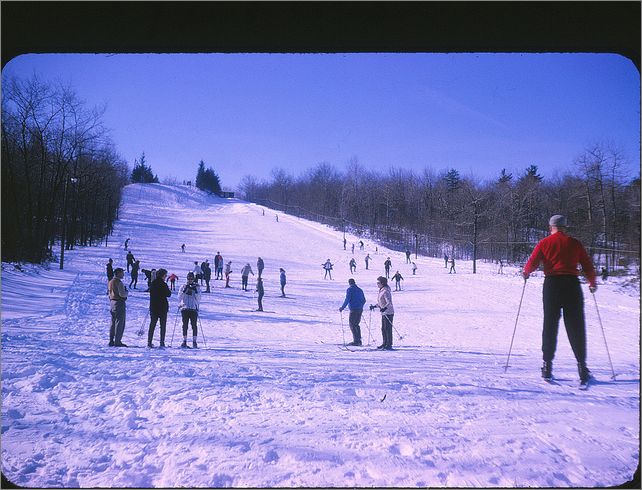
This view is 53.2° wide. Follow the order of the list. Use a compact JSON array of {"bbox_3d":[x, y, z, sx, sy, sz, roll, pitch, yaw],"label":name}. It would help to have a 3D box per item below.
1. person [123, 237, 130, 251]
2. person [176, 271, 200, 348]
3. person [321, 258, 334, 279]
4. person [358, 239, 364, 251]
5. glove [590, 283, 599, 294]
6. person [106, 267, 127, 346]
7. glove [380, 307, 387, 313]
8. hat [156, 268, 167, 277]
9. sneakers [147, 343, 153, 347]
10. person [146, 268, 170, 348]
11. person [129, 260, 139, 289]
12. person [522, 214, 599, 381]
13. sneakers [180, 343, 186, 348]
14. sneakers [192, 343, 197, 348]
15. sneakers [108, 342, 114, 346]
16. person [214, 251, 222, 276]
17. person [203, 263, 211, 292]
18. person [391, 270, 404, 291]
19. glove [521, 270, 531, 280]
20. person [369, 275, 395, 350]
[{"bbox_3d":[-14.884,-0.063,49.009,0.409,1.339,0.595,-4,18,-39],"label":"person"},{"bbox_3d":[-3.179,1.556,15.452,0.475,1.746,1.099,1,3,-12],"label":"person"},{"bbox_3d":[0.371,1.501,39.752,0.803,0.552,1.535,4,-40,6],"label":"person"},{"bbox_3d":[3.487,-0.015,56.645,0.592,1.177,0.494,12,29,38],"label":"person"},{"bbox_3d":[4.663,0.745,10.983,0.139,0.175,0.162,-7,11,-22],"label":"glove"},{"bbox_3d":[-4.742,1.454,14.868,0.397,1.777,1.162,0,3,-18],"label":"person"},{"bbox_3d":[1.503,1.531,15.140,0.026,0.109,0.105,10,-10,-40],"label":"glove"},{"bbox_3d":[-3.783,0.641,15.097,0.166,0.204,0.200,1,1,-3],"label":"hat"},{"bbox_3d":[-3.991,2.329,14.898,0.078,0.133,0.075,3,6,30],"label":"sneakers"},{"bbox_3d":[-3.837,1.493,15.150,0.486,1.833,0.920,0,3,-15],"label":"person"},{"bbox_3d":[-8.131,1.242,27.736,0.377,1.092,2.375,0,3,-17],"label":"person"},{"bbox_3d":[4.146,0.946,11.058,1.078,2.876,0.601,2,3,25],"label":"person"},{"bbox_3d":[-3.242,2.338,15.103,0.135,0.126,0.292,1,3,-14],"label":"sneakers"},{"bbox_3d":[-2.982,2.367,15.088,0.079,0.152,0.077,1,-9,-12],"label":"sneakers"},{"bbox_3d":[-4.808,2.260,14.642,0.120,0.133,0.070,3,10,20],"label":"sneakers"},{"bbox_3d":[-5.450,1.043,33.992,0.358,1.411,1.596,1,3,-10],"label":"person"},{"bbox_3d":[-4.978,1.421,27.842,0.234,1.110,2.278,1,3,-11],"label":"person"},{"bbox_3d":[4.062,1.914,34.205,0.732,0.413,1.292,5,-38,14],"label":"person"},{"bbox_3d":[3.620,0.532,11.300,0.127,0.135,0.135,-15,-15,-6],"label":"glove"},{"bbox_3d":[1.489,1.609,15.465,0.512,1.729,1.380,1,3,5],"label":"person"}]
